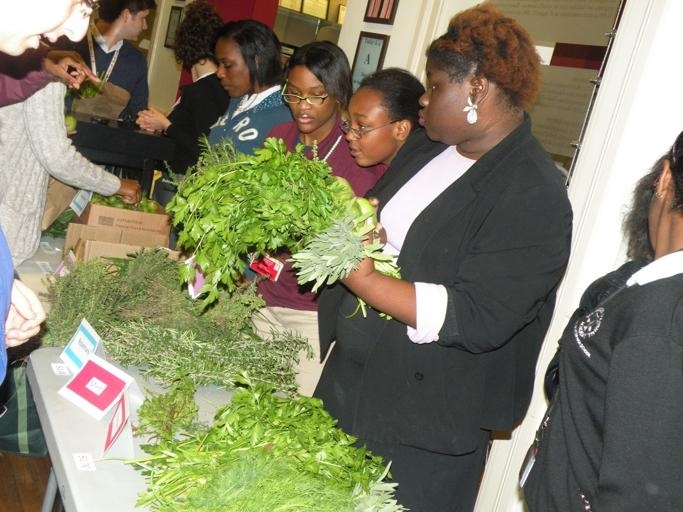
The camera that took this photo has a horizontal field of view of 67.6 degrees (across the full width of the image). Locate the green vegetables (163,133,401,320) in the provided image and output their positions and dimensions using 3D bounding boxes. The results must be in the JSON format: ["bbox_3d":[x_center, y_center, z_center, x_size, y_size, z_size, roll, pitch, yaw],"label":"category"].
[{"bbox_3d":[-0.179,-0.077,1.476,0.655,0.497,0.217,14,12,3],"label":"green vegetables"}]

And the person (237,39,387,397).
[{"bbox_3d":[-0.092,-0.107,2.319,0.575,1.555,0.595,-8,25,-29],"label":"person"}]

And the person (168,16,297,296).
[{"bbox_3d":[-0.631,-0.564,2.920,0.558,1.485,0.551,-5,21,-27],"label":"person"}]
